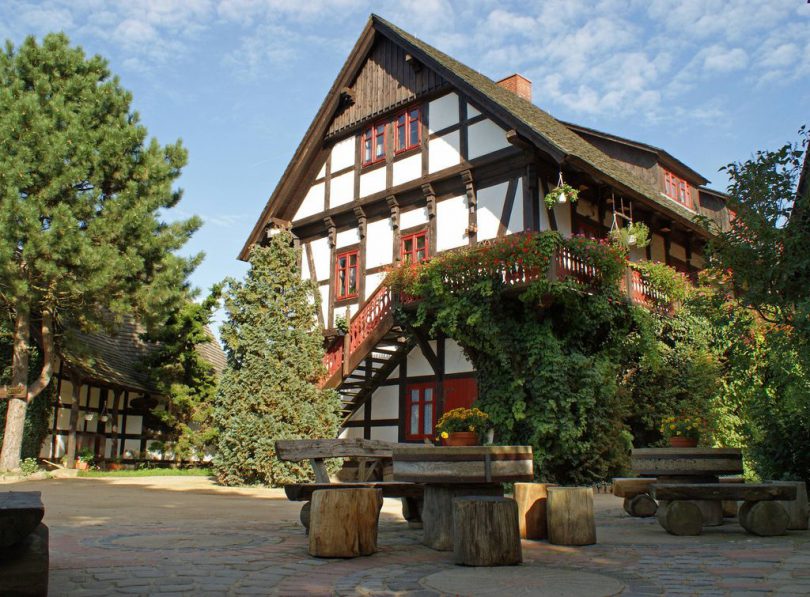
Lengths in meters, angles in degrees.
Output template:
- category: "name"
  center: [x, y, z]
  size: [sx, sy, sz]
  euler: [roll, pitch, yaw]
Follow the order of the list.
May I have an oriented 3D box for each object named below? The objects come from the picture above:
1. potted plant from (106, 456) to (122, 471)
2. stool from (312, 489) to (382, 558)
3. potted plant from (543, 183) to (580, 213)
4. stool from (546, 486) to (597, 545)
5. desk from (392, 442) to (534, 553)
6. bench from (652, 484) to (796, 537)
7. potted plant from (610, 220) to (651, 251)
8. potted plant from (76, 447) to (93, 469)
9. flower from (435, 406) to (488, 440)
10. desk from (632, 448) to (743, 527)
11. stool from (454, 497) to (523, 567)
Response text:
- category: "potted plant"
  center: [-10.153, 5.775, 25.945]
  size: [0.311, 0.383, 0.542]
  euler: [-5, -10, -5]
- category: "stool"
  center: [-0.886, 3.045, 10.217]
  size: [1.158, 0.837, 1.034]
  euler: [11, -15, -39]
- category: "potted plant"
  center: [3.803, -2.483, 18.284]
  size: [0.839, 0.524, 0.716]
  euler: [-2, -3, -10]
- category: "stool"
  center: [2.502, 3.187, 11.052]
  size: [0.818, 0.803, 0.805]
  euler: [5, -8, -17]
- category: "desk"
  center: [0.790, 2.759, 10.485]
  size: [1.664, 1.037, 1.593]
  euler: [1, -15, -3]
- category: "bench"
  center: [5.080, 3.315, 11.693]
  size: [2.051, 0.794, 1.202]
  euler: [-5, -16, 17]
- category: "potted plant"
  center: [6.053, -1.656, 20.030]
  size: [1.042, 0.691, 1.014]
  euler: [0, -3, -7]
- category: "potted plant"
  center: [-10.512, 5.259, 24.262]
  size: [0.506, 0.668, 0.735]
  euler: [3, -16, -10]
- category: "flower"
  center: [0.917, 2.027, 12.096]
  size: [0.665, 0.366, 0.653]
  euler: [8, -13, -42]
- category: "desk"
  center: [4.963, 3.579, 13.483]
  size: [1.777, 1.073, 1.707]
  euler: [3, -13, -10]
- category: "stool"
  center: [1.022, 2.989, 9.771]
  size: [0.921, 0.753, 0.827]
  euler: [2, -6, -14]
